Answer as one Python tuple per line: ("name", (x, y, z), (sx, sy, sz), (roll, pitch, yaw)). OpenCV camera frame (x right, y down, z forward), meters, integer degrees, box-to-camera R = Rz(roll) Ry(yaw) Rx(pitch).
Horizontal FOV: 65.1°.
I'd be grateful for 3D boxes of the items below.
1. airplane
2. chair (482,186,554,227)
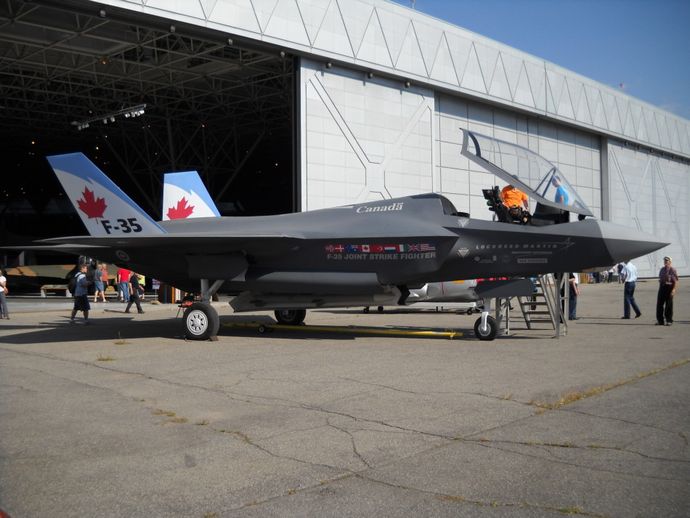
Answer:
("airplane", (0.206, -0.220, 13.478), (9.949, 2.650, 7.920), (0, 0, 7))
("chair", (3.845, -1.194, 12.350), (1.303, 0.940, 0.778), (0, 1, 13))
